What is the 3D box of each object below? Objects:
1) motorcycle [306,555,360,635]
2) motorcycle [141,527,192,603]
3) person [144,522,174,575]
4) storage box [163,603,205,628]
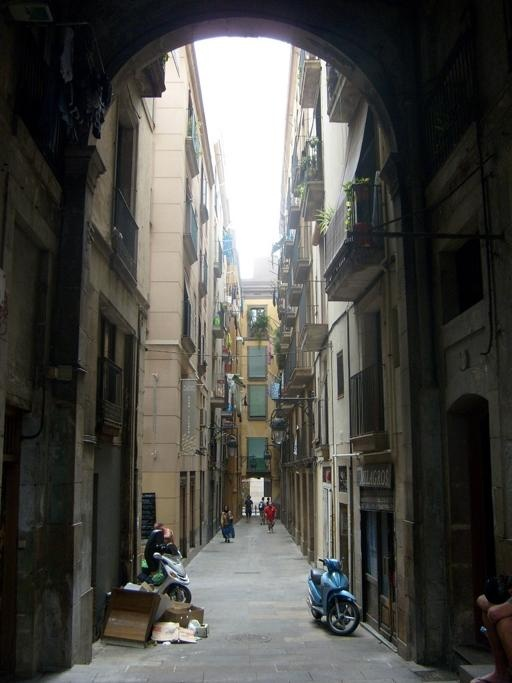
[{"bbox_3d":[1.290,4.445,10.302,0.408,1.245,1.852,3,-33,-3],"label":"motorcycle"},{"bbox_3d":[-1.833,4.001,10.952,1.418,1.558,0.600,-13,-19,43],"label":"motorcycle"},{"bbox_3d":[-1.736,3.656,10.683,0.408,0.882,0.713,-5,-16,19],"label":"person"},{"bbox_3d":[-1.120,4.119,9.117,0.340,0.297,0.820,-11,-23,30],"label":"storage box"}]
